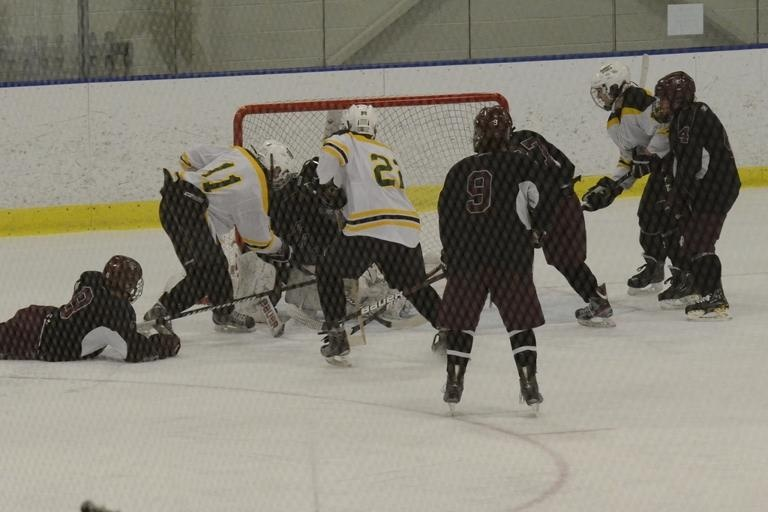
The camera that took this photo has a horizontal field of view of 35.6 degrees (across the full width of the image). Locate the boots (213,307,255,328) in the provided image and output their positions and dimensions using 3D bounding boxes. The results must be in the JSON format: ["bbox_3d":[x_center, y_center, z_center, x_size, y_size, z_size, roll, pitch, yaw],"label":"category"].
[{"bbox_3d":[-1.021,0.448,8.493,0.386,0.135,0.115,11,0,-5],"label":"boots"}]

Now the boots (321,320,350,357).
[{"bbox_3d":[-0.328,0.548,7.746,0.274,0.217,0.158,-8,3,-10],"label":"boots"}]

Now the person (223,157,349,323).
[{"bbox_3d":[-0.638,-0.155,8.253,0.926,1.090,0.448,-11,12,-32],"label":"person"}]

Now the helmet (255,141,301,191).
[{"bbox_3d":[-0.847,-0.655,8.349,0.431,0.314,0.321,-4,11,-31],"label":"helmet"}]

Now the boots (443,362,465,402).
[{"bbox_3d":[0.415,0.762,7.111,0.096,0.261,0.113,4,-11,0],"label":"boots"}]

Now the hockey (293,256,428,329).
[{"bbox_3d":[-0.239,0.281,8.576,1.105,0.443,0.346,1,-5,-22],"label":"hockey"}]

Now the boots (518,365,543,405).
[{"bbox_3d":[0.858,0.766,7.026,0.156,0.221,0.238,-7,-24,2],"label":"boots"}]

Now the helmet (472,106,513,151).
[{"bbox_3d":[0.656,-0.759,7.112,0.238,0.260,0.095,2,5,10],"label":"helmet"}]

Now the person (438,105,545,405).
[{"bbox_3d":[0.634,0.013,7.075,0.617,1.785,0.281,-1,6,2],"label":"person"}]

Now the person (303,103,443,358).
[{"bbox_3d":[-0.052,-0.160,7.820,0.789,1.674,0.687,0,6,5],"label":"person"}]

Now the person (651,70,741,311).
[{"bbox_3d":[2.028,-0.400,7.936,0.334,1.633,0.535,-6,8,-37],"label":"person"}]

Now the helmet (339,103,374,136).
[{"bbox_3d":[-0.177,-0.901,8.081,0.226,0.218,0.221,3,-44,-5],"label":"helmet"}]

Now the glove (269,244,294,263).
[{"bbox_3d":[-0.705,-0.017,8.193,0.156,0.039,0.118,-7,-16,-13],"label":"glove"}]

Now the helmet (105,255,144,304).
[{"bbox_3d":[-1.703,0.162,7.833,0.257,0.300,0.098,-18,0,-27],"label":"helmet"}]

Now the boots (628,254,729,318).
[{"bbox_3d":[2.005,0.317,8.042,0.420,0.414,0.678,15,-12,-12],"label":"boots"}]
